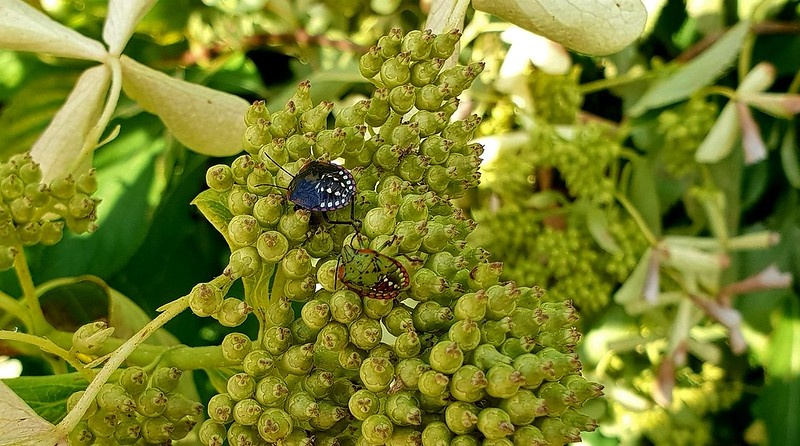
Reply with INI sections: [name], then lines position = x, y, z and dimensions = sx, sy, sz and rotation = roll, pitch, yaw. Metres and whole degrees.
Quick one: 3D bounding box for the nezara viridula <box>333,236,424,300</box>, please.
[nezara viridula]
position = -0.043, 0.081, 1.717
dimensions = 0.146, 0.068, 0.129
rotation = 26, 81, 2
